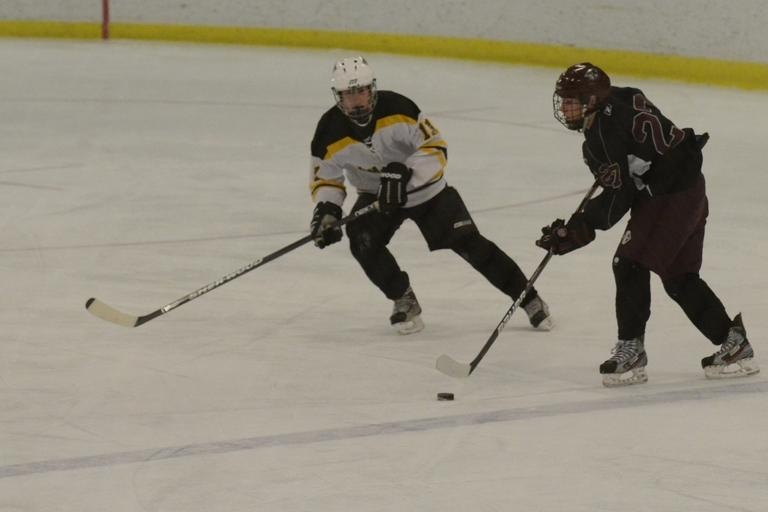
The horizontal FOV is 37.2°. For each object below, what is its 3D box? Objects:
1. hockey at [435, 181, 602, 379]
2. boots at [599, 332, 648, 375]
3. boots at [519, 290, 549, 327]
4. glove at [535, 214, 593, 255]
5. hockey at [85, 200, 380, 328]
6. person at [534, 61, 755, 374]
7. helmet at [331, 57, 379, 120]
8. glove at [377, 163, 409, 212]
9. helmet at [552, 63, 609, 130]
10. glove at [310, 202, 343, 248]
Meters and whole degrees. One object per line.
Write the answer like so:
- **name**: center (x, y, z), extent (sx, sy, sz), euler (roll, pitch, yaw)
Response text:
- **hockey**: center (0.764, 0.176, 6.493), extent (0.181, 0.202, 1.504), euler (36, 71, 30)
- **boots**: center (1.191, 0.492, 5.693), extent (0.309, 0.149, 0.099), euler (-8, 4, -32)
- **boots**: center (0.857, 0.313, 6.278), extent (0.138, 0.095, 0.259), euler (29, 22, -30)
- **glove**: center (0.962, -0.108, 5.953), extent (0.282, 0.183, 0.128), euler (-13, -22, 26)
- **hockey**: center (-0.894, 0.075, 6.806), extent (1.780, 0.187, 0.126), euler (-21, -19, -7)
- **person**: center (1.337, -0.145, 5.690), extent (0.622, 1.524, 0.946), euler (-8, 22, -31)
- **helmet**: center (-0.174, -0.950, 6.310), extent (0.286, 0.295, 0.351), euler (-14, 27, -5)
- **glove**: center (0.049, -0.368, 6.189), extent (0.190, 0.237, 0.086), euler (1, -7, 17)
- **helmet**: center (1.022, -0.812, 5.731), extent (0.330, 0.266, 0.236), euler (-5, 10, 14)
- **glove**: center (-0.323, -0.169, 6.357), extent (0.116, 0.229, 0.248), euler (20, -38, -28)
